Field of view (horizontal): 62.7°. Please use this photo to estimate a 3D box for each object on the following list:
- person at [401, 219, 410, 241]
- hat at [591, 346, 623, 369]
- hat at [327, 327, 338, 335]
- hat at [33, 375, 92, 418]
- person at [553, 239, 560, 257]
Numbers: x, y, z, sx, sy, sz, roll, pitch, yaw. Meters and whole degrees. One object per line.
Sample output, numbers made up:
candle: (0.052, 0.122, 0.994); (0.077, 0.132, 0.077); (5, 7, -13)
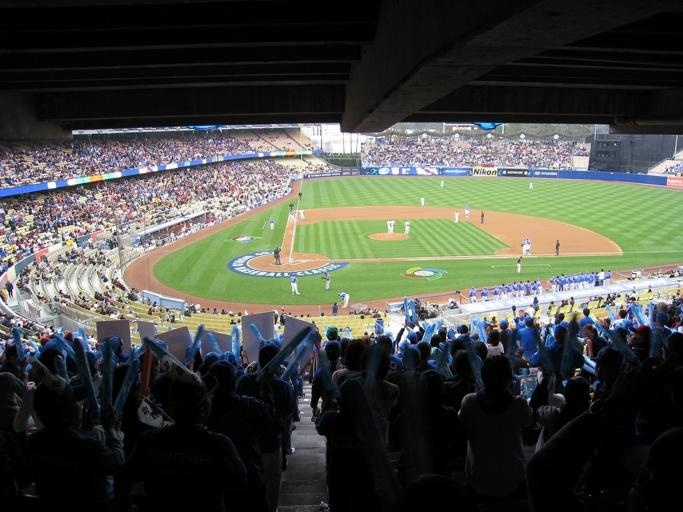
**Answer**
person: (5.197, -1.858, 45.171); (0.639, 0.496, 1.873); (1, -29, 12)
hat: (3.173, 1.210, 6.632); (0.252, 0.303, 0.323); (4, 15, 21)
hat: (-0.163, 1.326, 9.780); (0.163, 0.121, 0.116); (-23, 44, -40)
hat: (-2.732, 1.322, 5.445); (0.479, 0.448, 0.270); (-9, 16, -28)
person: (14.680, -0.589, 37.968); (0.275, 0.929, 1.875); (4, 14, 20)
